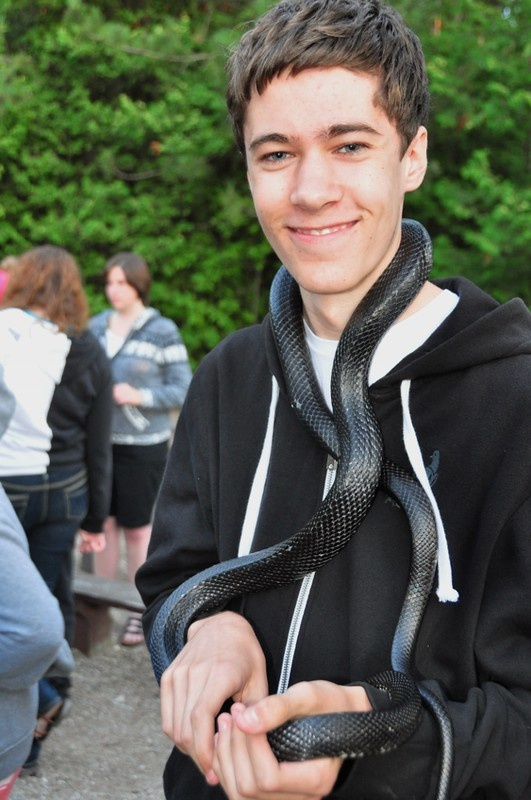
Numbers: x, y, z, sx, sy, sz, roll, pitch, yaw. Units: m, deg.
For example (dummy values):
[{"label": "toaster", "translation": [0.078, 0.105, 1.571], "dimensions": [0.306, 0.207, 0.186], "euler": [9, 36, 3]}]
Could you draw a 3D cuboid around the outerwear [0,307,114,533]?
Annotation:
[{"label": "outerwear", "translation": [-0.999, 0.180, 3.669], "dimensions": [0.781, 0.961, 0.341], "euler": [4, 6, -12]}]

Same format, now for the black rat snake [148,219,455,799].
[{"label": "black rat snake", "translation": [0.135, 0.137, 1.397], "dimensions": [0.533, 1.028, 0.163], "euler": [-2, -20, 36]}]
